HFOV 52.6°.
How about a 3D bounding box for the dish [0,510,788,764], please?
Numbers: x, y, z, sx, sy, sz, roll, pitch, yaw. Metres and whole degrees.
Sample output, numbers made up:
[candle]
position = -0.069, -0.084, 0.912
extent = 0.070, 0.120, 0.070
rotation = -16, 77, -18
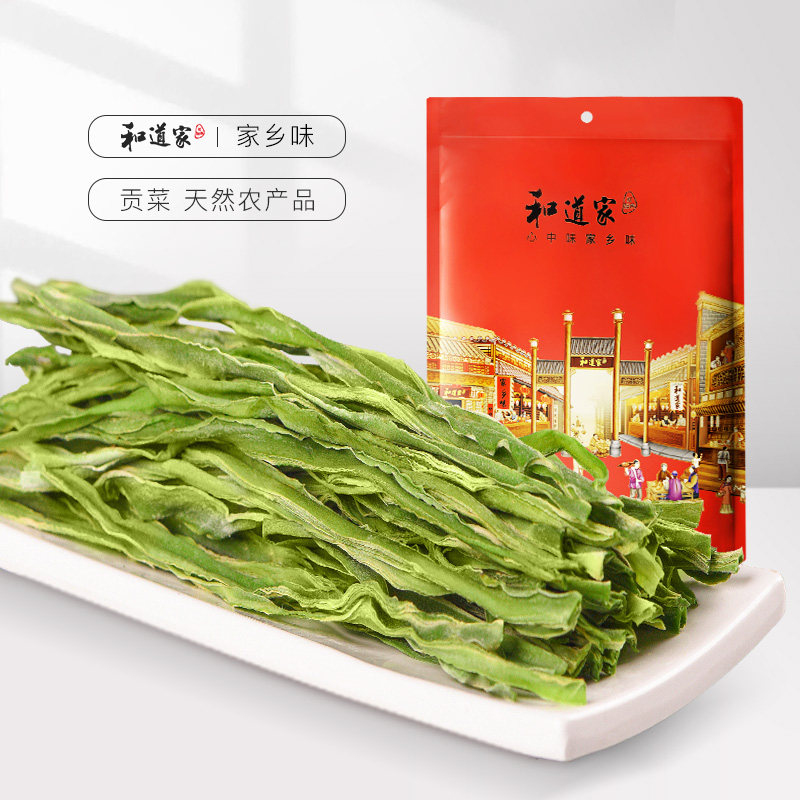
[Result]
[dish]
position = -0.072, 0.109, 0.720
extent = 0.697, 0.066, 0.237
rotation = 7, 1, 39
